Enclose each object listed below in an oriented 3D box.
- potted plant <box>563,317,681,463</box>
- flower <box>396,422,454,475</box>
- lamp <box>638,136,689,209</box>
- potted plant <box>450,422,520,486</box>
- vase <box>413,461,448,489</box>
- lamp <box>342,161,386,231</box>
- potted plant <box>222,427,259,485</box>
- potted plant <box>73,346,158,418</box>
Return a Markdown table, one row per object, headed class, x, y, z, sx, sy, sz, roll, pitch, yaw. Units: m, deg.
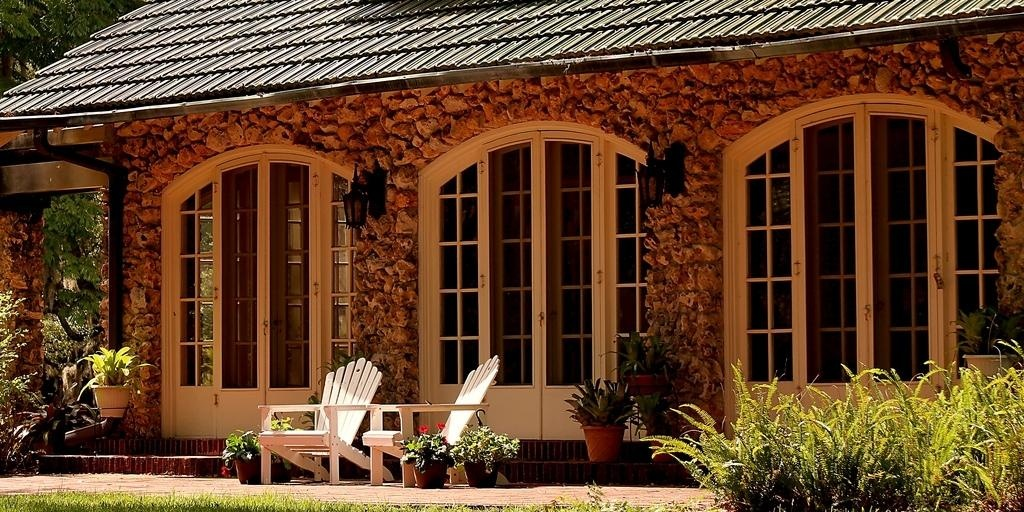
| class | x | y | z | sx | sy | sz | roll | pitch | yaw |
| --- | --- | --- | --- | --- | --- | --- | --- | --- | --- |
| potted plant | 1.605 | 2.000 | 19.188 | 1.451 | 1.868 | 0.656 | 0 | -12 | 6 |
| flower | -1.172 | 2.550 | 18.592 | 0.612 | 0.360 | 0.707 | -11 | 2 | 15 |
| lamp | 2.150 | -1.144 | 19.373 | 0.681 | 0.924 | 0.437 | 2 | 3 | -2 |
| potted plant | -0.378 | 2.727 | 18.641 | 0.882 | 0.629 | 0.846 | 3 | -6 | -4 |
| vase | -1.072 | 2.972 | 18.334 | 0.410 | 0.262 | 0.396 | 0 | 3 | -25 |
| lamp | -2.251 | -0.924 | 20.554 | 0.687 | 1.128 | 0.561 | -1 | -16 | -4 |
| potted plant | -3.834 | 2.911 | 19.522 | 0.717 | 0.653 | 0.699 | 1 | -7 | -9 |
| potted plant | -6.418 | 2.000 | 21.269 | 1.054 | 0.982 | 1.145 | -2 | 1 | 10 |
